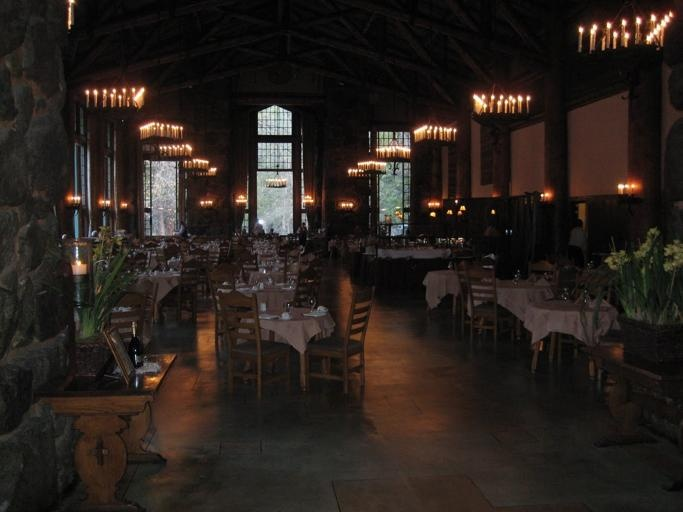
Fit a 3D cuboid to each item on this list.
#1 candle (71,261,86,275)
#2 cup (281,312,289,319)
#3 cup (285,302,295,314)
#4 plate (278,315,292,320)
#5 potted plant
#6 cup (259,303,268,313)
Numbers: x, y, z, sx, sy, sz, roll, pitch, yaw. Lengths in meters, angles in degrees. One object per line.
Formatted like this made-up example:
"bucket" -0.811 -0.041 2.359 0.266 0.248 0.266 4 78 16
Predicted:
"candle" -1.813 0.083 4.108 0.078 0.066 0.085 2 5 10
"cup" -0.638 0.671 6.765 0.059 0.066 0.064 0 -5 0
"cup" -0.633 0.622 7.257 0.104 0.118 0.107 2 -6 0
"plate" -0.638 0.687 6.754 0.138 0.050 0.169 -1 5 -5
"potted plant" -1.896 0.277 4.483 0.561 1.065 0.511 -8 9 -29
"cup" -0.942 0.625 7.166 0.100 0.113 0.100 0 -3 0
